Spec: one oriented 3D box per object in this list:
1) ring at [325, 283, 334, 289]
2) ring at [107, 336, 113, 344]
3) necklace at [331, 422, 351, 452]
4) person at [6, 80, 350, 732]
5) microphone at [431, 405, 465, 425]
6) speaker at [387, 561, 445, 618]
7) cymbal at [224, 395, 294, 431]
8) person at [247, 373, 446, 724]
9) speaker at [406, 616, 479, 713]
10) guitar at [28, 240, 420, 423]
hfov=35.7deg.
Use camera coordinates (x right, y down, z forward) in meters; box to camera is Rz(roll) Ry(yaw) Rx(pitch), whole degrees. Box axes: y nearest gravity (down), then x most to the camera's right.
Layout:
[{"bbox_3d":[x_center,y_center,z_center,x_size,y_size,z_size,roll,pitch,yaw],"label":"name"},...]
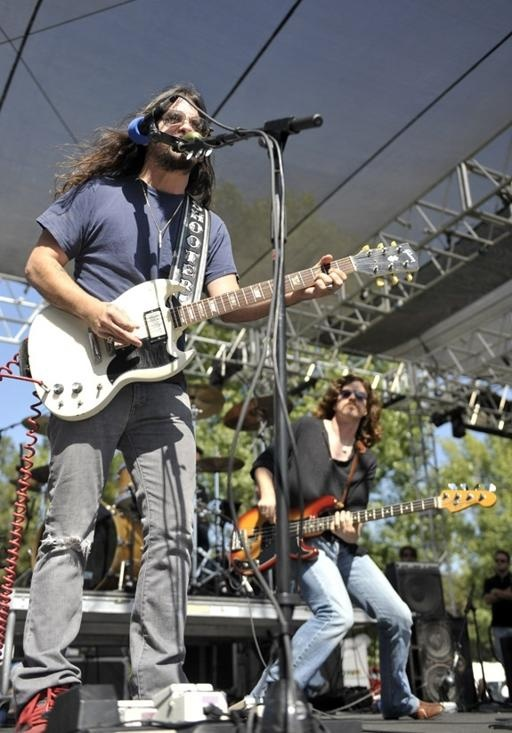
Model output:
[{"bbox_3d":[0.269,-0.298,2.924,0.024,0.018,0.005,2,-5,-3],"label":"ring"},{"bbox_3d":[-0.513,-0.094,2.773,0.023,0.019,0.026,-4,-1,-10],"label":"ring"},{"bbox_3d":[0.431,0.361,4.041,0.137,0.139,0.102,4,-20,-2],"label":"necklace"},{"bbox_3d":[-0.510,0.114,3.046,1.179,2.286,1.258,4,0,-38],"label":"person"},{"bbox_3d":[2.817,0.692,11.662,0.584,0.259,0.137,-18,-9,39],"label":"microphone"},{"bbox_3d":[1.188,1.604,5.814,0.328,0.343,0.352,3,-3,-39],"label":"speaker"},{"bbox_3d":[0.005,0.492,8.077,0.981,0.399,0.475,1,0,-37],"label":"cymbal"},{"bbox_3d":[0.326,0.748,4.089,1.110,1.765,0.797,7,-12,-30],"label":"person"},{"bbox_3d":[1.231,1.952,5.257,0.416,0.500,0.388,-1,-3,-4],"label":"speaker"},{"bbox_3d":[-0.099,-0.128,3.025,1.872,0.502,0.179,-14,-17,-1],"label":"guitar"}]
